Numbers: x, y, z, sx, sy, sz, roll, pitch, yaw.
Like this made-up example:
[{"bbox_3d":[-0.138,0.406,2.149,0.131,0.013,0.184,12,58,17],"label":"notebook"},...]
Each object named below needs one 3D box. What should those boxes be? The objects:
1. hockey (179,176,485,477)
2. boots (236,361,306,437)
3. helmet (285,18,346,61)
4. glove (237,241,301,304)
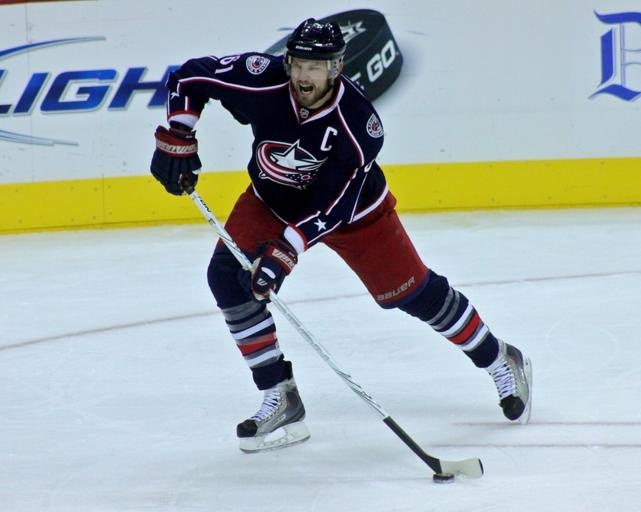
[{"bbox_3d":[0.039,0.365,4.453,2.131,0.249,0.330,31,56,10],"label":"hockey"},{"bbox_3d":[-0.227,0.632,4.130,0.136,0.235,0.377,5,14,35],"label":"boots"},{"bbox_3d":[-0.021,-0.875,4.007,0.195,0.179,0.210,5,25,15],"label":"helmet"},{"bbox_3d":[-0.215,0.072,4.035,0.191,0.271,0.105,42,-2,8],"label":"glove"}]
